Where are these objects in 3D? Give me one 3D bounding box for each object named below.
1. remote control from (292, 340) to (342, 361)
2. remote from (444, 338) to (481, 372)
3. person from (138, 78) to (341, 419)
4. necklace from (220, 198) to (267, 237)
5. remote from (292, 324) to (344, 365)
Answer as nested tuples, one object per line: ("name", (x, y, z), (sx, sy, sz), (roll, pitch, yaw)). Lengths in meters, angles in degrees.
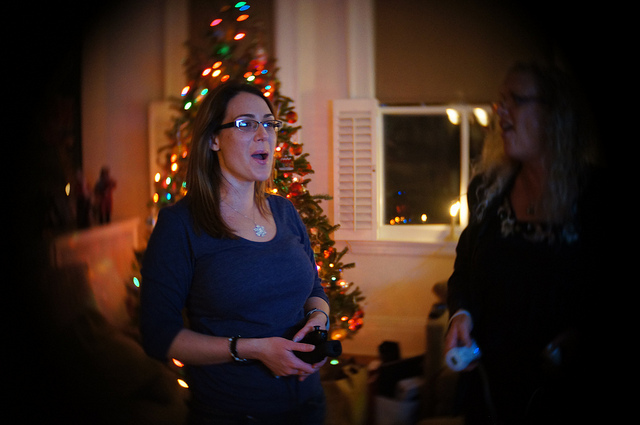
("remote control", (0.001, 0.544, 2.140), (0.123, 0.031, 0.117), (-1, -3, -15))
("remote", (0.669, 0.678, 2.569), (0.155, 0.092, 0.041), (-13, 10, -34))
("person", (-0.314, 0.162, 2.232), (0.770, 1.409, 0.304), (-1, 2, -3))
("necklace", (-0.309, 0.018, 2.257), (0.189, 0.159, 0.081), (0, 2, 9))
("remote", (-0.008, 0.529, 2.169), (0.189, 0.132, 0.098), (0, 2, 4))
